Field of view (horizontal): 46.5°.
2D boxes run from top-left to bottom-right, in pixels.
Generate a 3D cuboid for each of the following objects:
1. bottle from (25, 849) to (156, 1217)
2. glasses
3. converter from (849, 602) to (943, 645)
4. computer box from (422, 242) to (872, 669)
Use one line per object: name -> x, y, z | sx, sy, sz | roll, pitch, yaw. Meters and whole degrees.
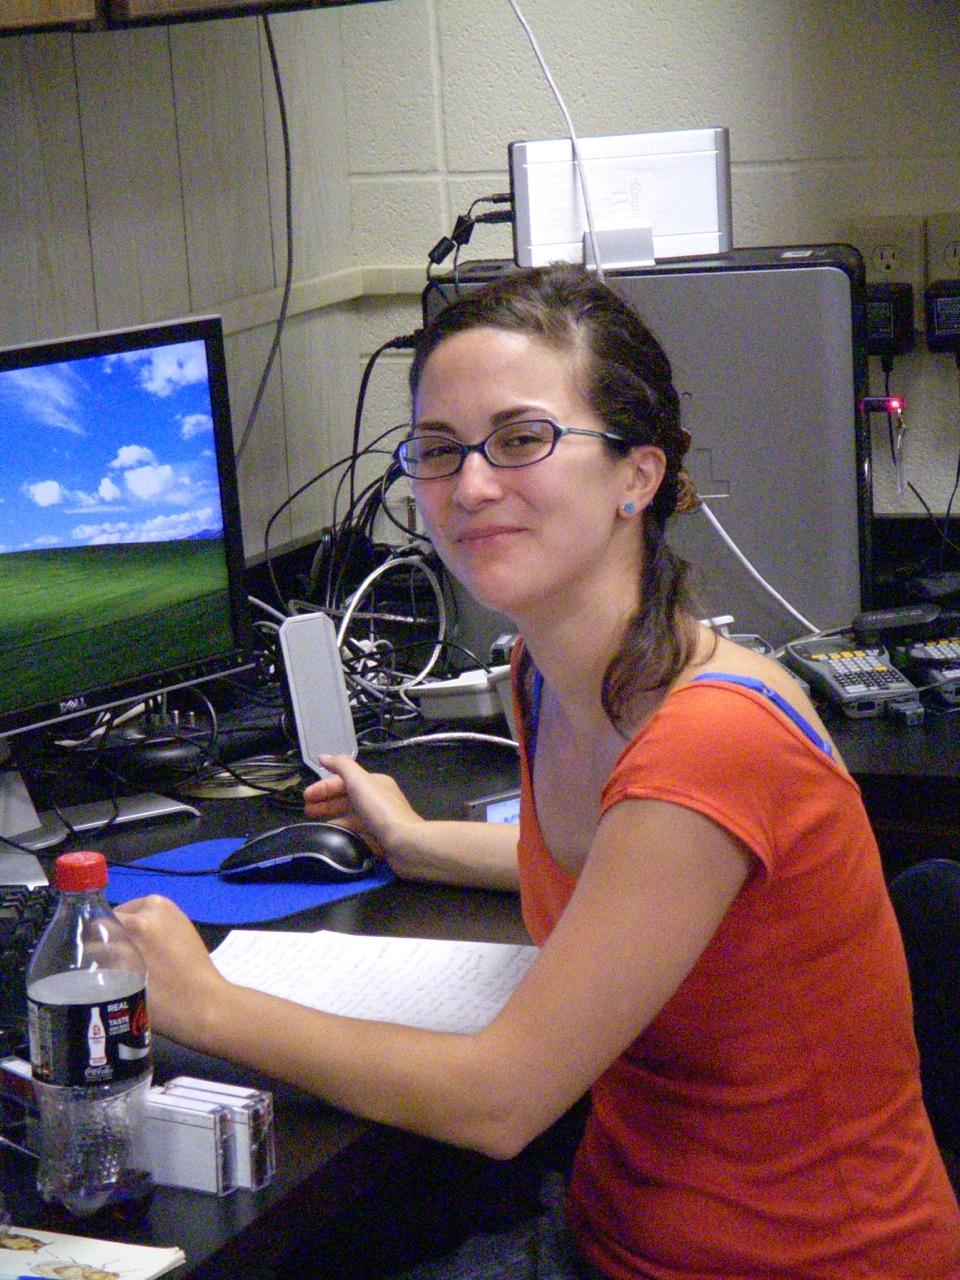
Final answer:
bottle -> -0.214, 0.204, 0.610 | 0.062, 0.180, 0.098 | -1, 7, -21
glasses -> 0.013, -0.141, 0.781 | 0.125, 0.038, 0.098 | 3, 23, 18
converter -> 0.581, -0.021, 1.551 | 0.123, 0.051, 0.028 | -6, 12, -5
computer box -> 0.403, -0.342, 1.849 | 0.725, 0.576, 0.417 | 6, 25, 16
